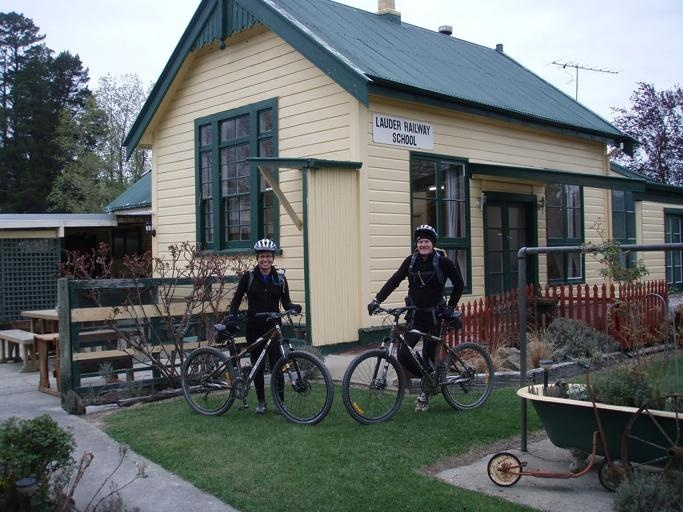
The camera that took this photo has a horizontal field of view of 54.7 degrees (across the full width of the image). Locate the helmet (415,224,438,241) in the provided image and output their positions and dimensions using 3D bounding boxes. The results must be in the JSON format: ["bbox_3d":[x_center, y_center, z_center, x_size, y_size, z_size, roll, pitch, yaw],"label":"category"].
[{"bbox_3d":[1.168,-0.324,9.128,0.257,0.236,0.607,0,7,10],"label":"helmet"}]

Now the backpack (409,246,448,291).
[{"bbox_3d":[1.124,0.156,9.151,0.536,0.738,0.444,-3,-2,34],"label":"backpack"}]

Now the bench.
[{"bbox_3d":[-3.525,1.226,10.279,1.742,1.227,1.739,-1,0,-43],"label":"bench"}]

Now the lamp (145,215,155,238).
[{"bbox_3d":[-5.280,-0.829,18.333,0.204,0.565,0.971,-4,7,-19],"label":"lamp"}]

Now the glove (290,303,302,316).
[{"bbox_3d":[-0.620,0.742,9.071,0.116,0.153,0.161,7,17,-23],"label":"glove"}]

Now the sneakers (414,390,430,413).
[{"bbox_3d":[1.086,1.987,8.916,0.105,0.261,0.348,-1,-9,10],"label":"sneakers"}]

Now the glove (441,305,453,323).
[{"bbox_3d":[1.410,0.757,8.826,0.121,0.192,0.187,-1,-22,7],"label":"glove"}]

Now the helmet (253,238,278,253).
[{"bbox_3d":[-1.071,-0.157,9.275,0.267,0.206,0.581,-3,7,-10],"label":"helmet"}]

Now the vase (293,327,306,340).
[{"bbox_3d":[-0.809,1.500,12.861,0.200,0.178,0.211,-4,-7,33],"label":"vase"}]

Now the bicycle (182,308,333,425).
[{"bbox_3d":[-1.187,1.494,8.996,2.177,1.526,0.925,0,3,16],"label":"bicycle"}]

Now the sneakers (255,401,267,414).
[{"bbox_3d":[-1.100,2.082,9.091,0.094,0.137,0.297,-1,-13,-1],"label":"sneakers"}]
